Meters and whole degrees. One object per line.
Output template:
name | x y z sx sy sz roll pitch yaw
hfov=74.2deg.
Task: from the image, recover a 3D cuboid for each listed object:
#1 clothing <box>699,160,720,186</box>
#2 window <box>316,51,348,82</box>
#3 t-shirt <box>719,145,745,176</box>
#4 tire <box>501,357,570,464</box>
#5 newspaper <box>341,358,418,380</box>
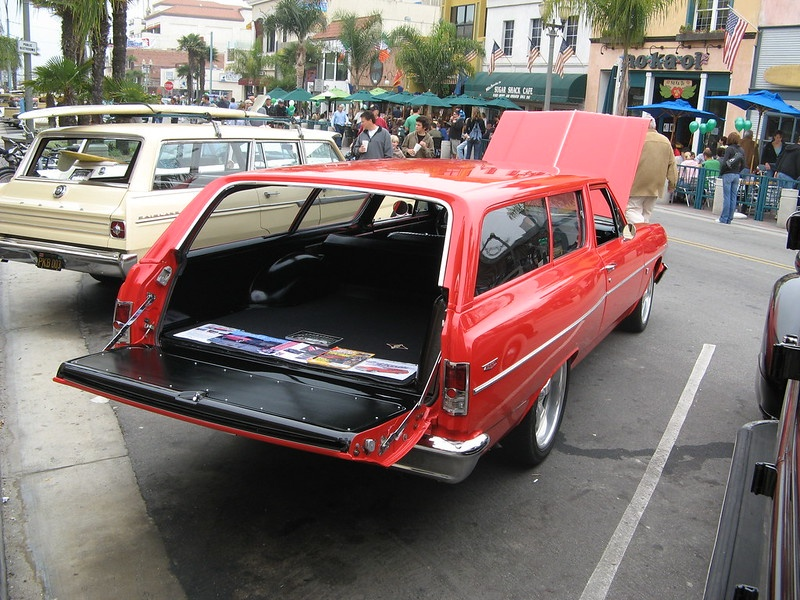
clothing | 10.202 -4.132 17.382 0.849 0.954 0.507 8 18 34
window | -7.225 -25.204 57.140 0.338 3.270 5.109 -9 17 -41
t-shirt | 9.702 -4.022 15.402 0.572 1.014 0.942 12 43 29
tire | 0.952 0.791 3.774 0.255 0.821 0.807 -1 -9 39
newspaper | -0.094 0.440 3.334 0.407 0.033 0.324 5 16 14
